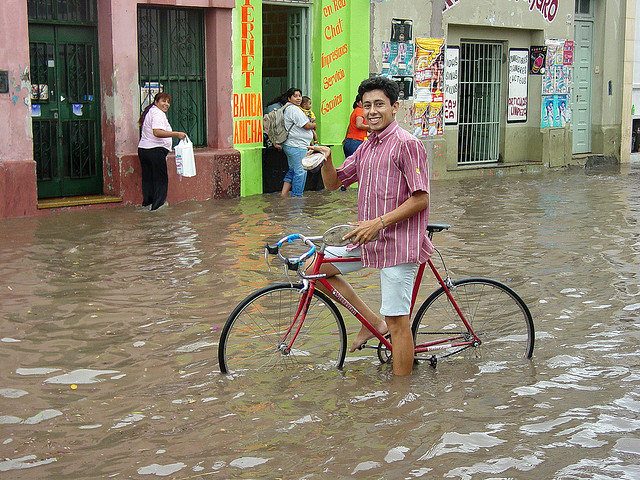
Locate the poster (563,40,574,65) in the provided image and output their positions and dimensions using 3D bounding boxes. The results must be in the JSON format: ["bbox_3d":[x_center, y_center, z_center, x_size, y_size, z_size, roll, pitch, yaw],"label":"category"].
[{"bbox_3d":[6.604,-5.032,21.230,0.083,0.704,0.534,16,33,41],"label":"poster"}]

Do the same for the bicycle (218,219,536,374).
[{"bbox_3d":[0.497,0.612,6.424,2.588,1.235,0.620,-1,3,-11],"label":"bicycle"}]

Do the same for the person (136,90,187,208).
[{"bbox_3d":[-2.658,-1.484,13.281,0.697,1.899,0.512,0,14,-3],"label":"person"}]

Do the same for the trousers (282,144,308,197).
[{"bbox_3d":[-0.450,-1.295,14.856,0.446,0.997,0.800,0,14,-2],"label":"trousers"}]

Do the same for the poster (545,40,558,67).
[{"bbox_3d":[5.987,-4.891,20.659,0.663,0.888,0.113,-11,16,-42],"label":"poster"}]

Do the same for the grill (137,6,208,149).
[{"bbox_3d":[-2.633,-2.938,14.498,1.340,2.540,0.344,-12,18,-41],"label":"grill"}]

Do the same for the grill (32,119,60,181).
[{"bbox_3d":[-4.507,-1.506,13.248,0.427,1.010,0.268,-7,15,-27],"label":"grill"}]

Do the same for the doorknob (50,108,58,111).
[{"bbox_3d":[-4.401,-2.191,13.293,0.111,0.043,0.028,-11,18,-40],"label":"doorknob"}]

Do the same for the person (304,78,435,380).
[{"bbox_3d":[0.436,-0.057,6.212,0.859,2.372,0.664,5,14,20],"label":"person"}]
